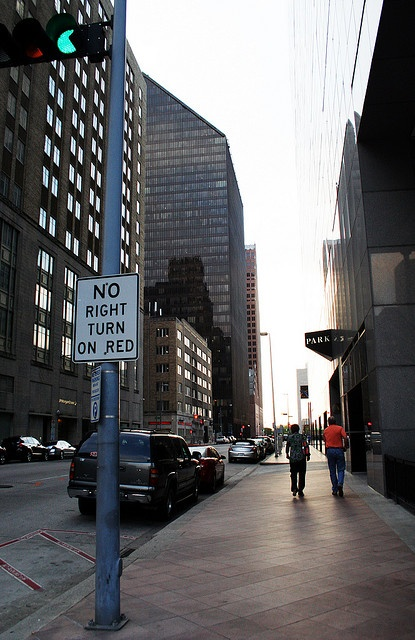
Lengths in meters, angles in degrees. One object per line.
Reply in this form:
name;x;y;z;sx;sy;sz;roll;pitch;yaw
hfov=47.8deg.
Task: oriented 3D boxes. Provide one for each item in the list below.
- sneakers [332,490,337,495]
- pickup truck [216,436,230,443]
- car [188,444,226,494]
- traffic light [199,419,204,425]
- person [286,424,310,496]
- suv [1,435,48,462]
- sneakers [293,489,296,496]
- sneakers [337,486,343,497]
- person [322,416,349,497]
sneakers;3.296;4.489;12.211;0.049;0.188;0.152;0;-18;1
pickup truck;3.341;25.717;100.958;2.735;1.296;7.749;-3;-14;1
car;0.021;4.762;15.030;0.755;0.948;2.087;-3;-9;11
traffic light;-1.347;22.653;106.063;0.962;1.797;2.437;2;-18;-3
person;2.474;3.822;12.953;0.590;1.864;1.715;-3;-10;11
suv;-12.585;8.870;32.688;1.013;1.358;2.940;-2;-13;12
sneakers;2.295;4.516;12.274;0.059;0.111;0.184;-15;2;-2
sneakers;3.315;4.274;11.758;0.099;0.245;0.272;-3;-11;12
person;3.322;3.492;12.098;0.566;1.963;0.737;-4;-8;17
